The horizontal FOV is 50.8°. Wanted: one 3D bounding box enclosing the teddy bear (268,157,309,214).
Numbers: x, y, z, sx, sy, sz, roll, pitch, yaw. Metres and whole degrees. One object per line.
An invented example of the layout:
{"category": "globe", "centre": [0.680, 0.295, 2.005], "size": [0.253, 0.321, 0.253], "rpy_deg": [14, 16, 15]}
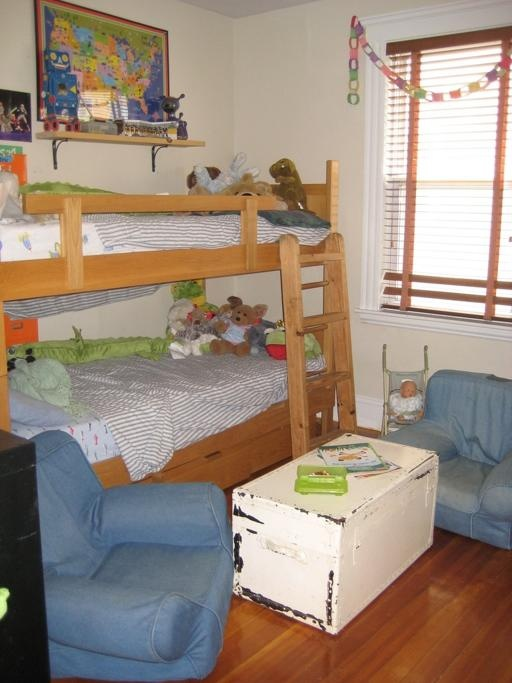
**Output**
{"category": "teddy bear", "centre": [0.197, -0.969, 3.359], "size": [0.239, 0.327, 0.192], "rpy_deg": [9, 23, 16]}

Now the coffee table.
{"category": "coffee table", "centre": [0.236, 0.522, 1.804], "size": [0.467, 0.342, 0.712], "rpy_deg": [6, 16, 36]}

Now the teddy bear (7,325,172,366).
{"category": "teddy bear", "centre": [-0.909, 0.052, 3.015], "size": [0.861, 0.200, 0.273], "rpy_deg": [-7, 16, -33]}

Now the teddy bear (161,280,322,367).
{"category": "teddy bear", "centre": [-0.147, -0.095, 3.414], "size": [0.686, 0.296, 0.505], "rpy_deg": [14, 18, 26]}

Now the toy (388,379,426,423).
{"category": "toy", "centre": [0.890, 0.356, 3.202], "size": [0.191, 0.257, 0.093], "rpy_deg": [3, 3, 11]}

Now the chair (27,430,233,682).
{"category": "chair", "centre": [-0.371, 0.598, 1.484], "size": [0.607, 0.556, 0.644], "rpy_deg": [1, 8, -2]}

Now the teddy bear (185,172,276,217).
{"category": "teddy bear", "centre": [-0.150, -0.865, 3.087], "size": [0.528, 0.185, 0.385], "rpy_deg": [5, 23, 8]}
